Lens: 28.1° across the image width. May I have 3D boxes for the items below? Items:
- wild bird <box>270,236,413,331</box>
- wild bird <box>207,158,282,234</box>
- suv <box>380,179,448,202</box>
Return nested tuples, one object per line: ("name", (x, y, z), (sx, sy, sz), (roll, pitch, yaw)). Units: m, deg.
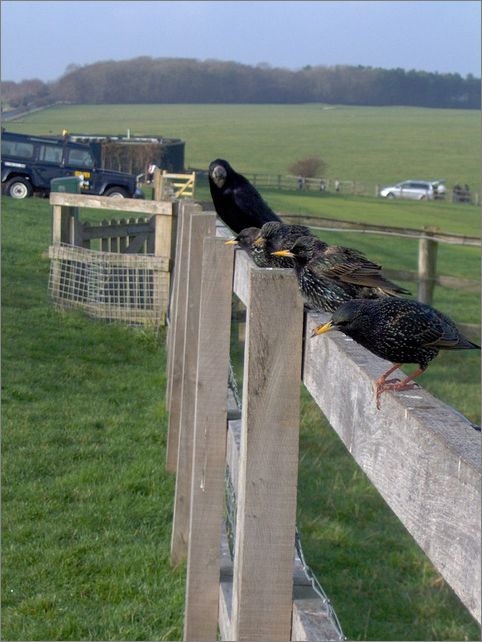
("wild bird", (0.435, -0.118, 3.977), (0.518, 0.482, 0.256), (-6, 21, 13))
("wild bird", (0.001, -0.843, 6.794), (0.398, 0.519, 0.672), (1, 13, -32))
("suv", (13.100, -9.622, 71.696), (5.721, 1.742, 3.231), (0, 15, -41))
